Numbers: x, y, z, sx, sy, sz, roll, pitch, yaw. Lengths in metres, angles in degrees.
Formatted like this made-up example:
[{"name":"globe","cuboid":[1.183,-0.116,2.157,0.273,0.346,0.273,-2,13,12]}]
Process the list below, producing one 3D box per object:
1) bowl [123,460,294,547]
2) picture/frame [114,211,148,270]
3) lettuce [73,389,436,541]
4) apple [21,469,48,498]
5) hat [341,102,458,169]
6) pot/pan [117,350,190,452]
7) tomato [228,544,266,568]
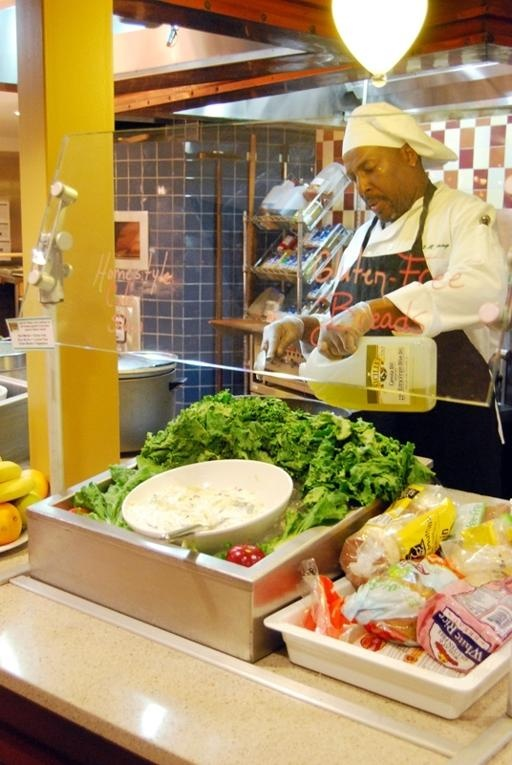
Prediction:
[{"name":"bowl","cuboid":[-0.088,0.243,1.114,0.343,0.116,0.311,-3,4,-29]},{"name":"picture/frame","cuboid":[-0.249,-0.289,1.126,0.005,0.106,0.107,-15,26,-42]},{"name":"lettuce","cuboid":[0.032,0.168,1.177,0.425,0.188,0.440,-19,26,-35]},{"name":"apple","cuboid":[-0.555,0.254,1.398,0.063,0.052,0.052,31,9,-20]},{"name":"hat","cuboid":[0.197,-0.336,0.785,0.149,0.069,0.110,12,-3,18]},{"name":"pot/pan","cuboid":[-0.290,0.046,1.539,0.257,0.225,0.215,3,11,12]},{"name":"tomato","cuboid":[-0.020,0.284,0.929,0.035,0.021,0.033,-4,5,-31]}]
